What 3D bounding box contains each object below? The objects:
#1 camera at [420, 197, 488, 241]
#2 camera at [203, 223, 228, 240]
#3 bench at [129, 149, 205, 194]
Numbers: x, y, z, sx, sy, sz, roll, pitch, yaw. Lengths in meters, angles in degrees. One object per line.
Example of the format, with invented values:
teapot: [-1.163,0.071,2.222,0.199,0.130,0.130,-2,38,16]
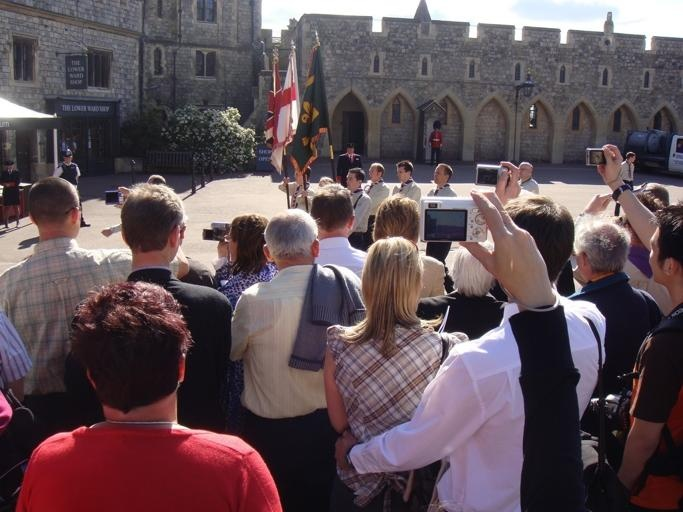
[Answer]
camera: [0.533,-0.084,3.358,0.315,0.223,0.248,0,52,11]
camera: [-1.022,-0.195,5.790,0.096,0.171,0.462,2,-1,10]
bench: [-6.246,-3.049,25.316,1.730,1.459,0.724,-2,-4,-29]
